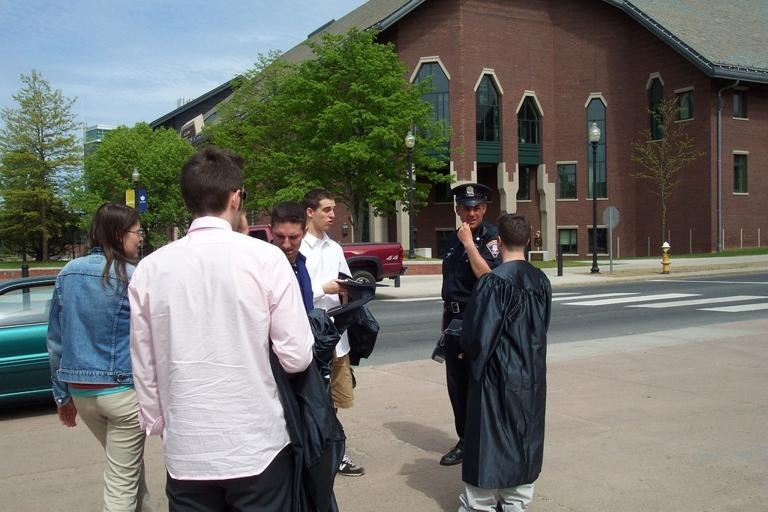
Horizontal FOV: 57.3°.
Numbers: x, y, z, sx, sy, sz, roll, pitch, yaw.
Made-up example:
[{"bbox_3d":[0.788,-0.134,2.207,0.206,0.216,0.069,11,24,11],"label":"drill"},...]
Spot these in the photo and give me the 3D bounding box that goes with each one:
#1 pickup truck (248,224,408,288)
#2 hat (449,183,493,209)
[{"bbox_3d":[-0.660,0.080,19.451,3.510,1.336,1.981,1,-2,-34],"label":"pickup truck"},{"bbox_3d":[0.965,-0.696,7.803,0.379,0.239,0.618,-1,7,5],"label":"hat"}]
